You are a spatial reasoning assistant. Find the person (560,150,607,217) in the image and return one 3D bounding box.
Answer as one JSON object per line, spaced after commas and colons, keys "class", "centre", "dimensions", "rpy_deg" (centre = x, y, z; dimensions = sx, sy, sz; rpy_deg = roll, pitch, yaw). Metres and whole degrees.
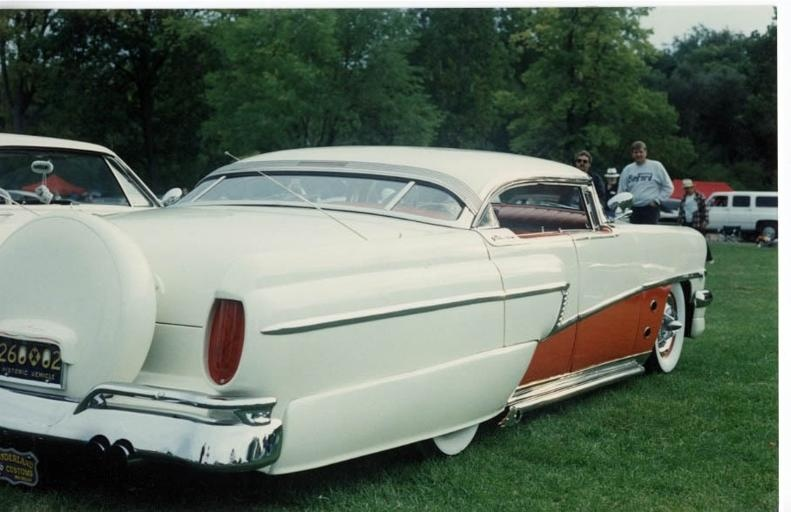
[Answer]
{"class": "person", "centre": [2.303, -0.638, 8.914], "dimensions": [0.530, 1.282, 0.362], "rpy_deg": [-4, -19, 28]}
